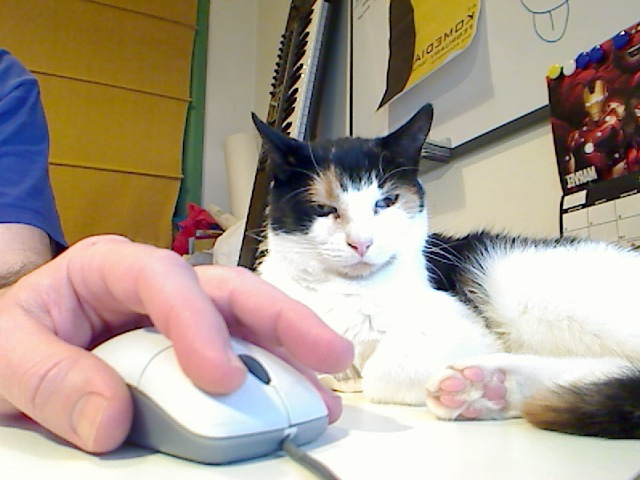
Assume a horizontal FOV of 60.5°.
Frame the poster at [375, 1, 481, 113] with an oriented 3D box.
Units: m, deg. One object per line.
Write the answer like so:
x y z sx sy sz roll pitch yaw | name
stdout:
0.298 -0.584 1.533 0.037 0.339 0.348 5 -6 -35 | poster
